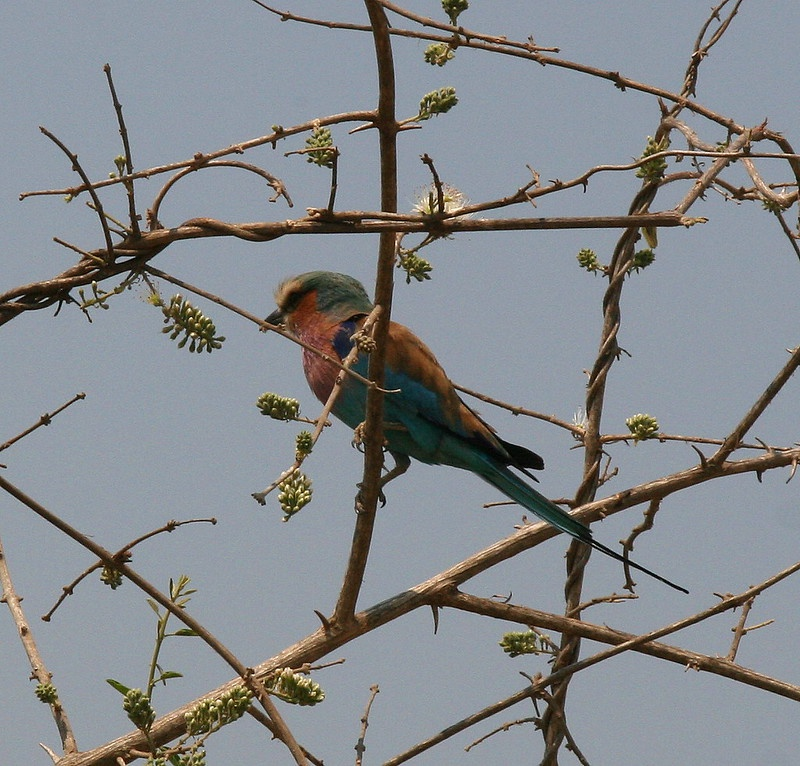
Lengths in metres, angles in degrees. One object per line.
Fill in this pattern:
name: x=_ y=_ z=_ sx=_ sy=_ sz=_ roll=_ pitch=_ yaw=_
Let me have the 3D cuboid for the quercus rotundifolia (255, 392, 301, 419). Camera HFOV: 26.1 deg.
quercus rotundifolia: x=-0.345 y=0.061 z=4.823 sx=0.086 sy=0.045 sz=0.047 roll=12 pitch=-56 yaw=4

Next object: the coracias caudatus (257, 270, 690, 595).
coracias caudatus: x=0.209 y=0.130 z=7.388 sx=1.798 sy=0.965 sz=0.461 roll=13 pitch=-21 yaw=-17

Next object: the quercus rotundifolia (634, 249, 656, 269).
quercus rotundifolia: x=0.984 y=-0.499 z=6.904 sx=0.070 sy=0.079 sz=0.110 roll=11 pitch=-56 yaw=-5

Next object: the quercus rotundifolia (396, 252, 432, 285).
quercus rotundifolia: x=0.052 y=-0.445 z=6.375 sx=0.103 sy=0.054 sz=0.144 roll=-18 pitch=-58 yaw=13
